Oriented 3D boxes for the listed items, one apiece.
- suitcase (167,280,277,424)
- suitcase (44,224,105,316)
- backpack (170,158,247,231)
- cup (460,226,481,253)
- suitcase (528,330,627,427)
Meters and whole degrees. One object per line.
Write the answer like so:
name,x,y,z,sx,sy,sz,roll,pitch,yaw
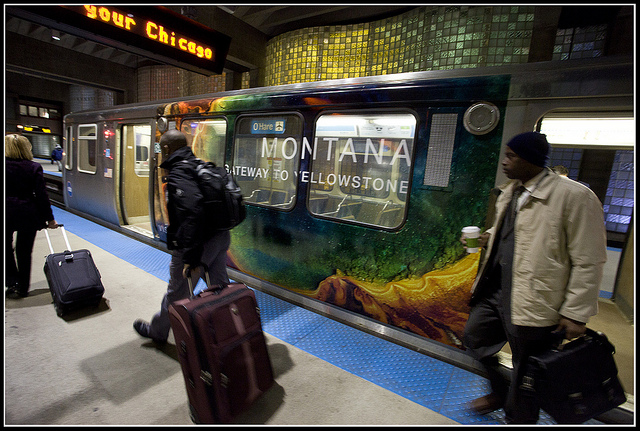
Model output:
suitcase,-0.877,1.260,3.294,0.678,1.171,0.609,-10,15,-36
suitcase,-3.048,0.654,4.446,0.512,1.055,0.588,-10,15,-37
backpack,-1.194,-0.214,3.736,0.843,0.699,0.430,8,16,5
cup,1.372,0.215,3.295,0.241,0.245,0.226,-2,9,0
suitcase,2.139,1.340,3.008,0.783,0.823,0.232,-1,12,-3
